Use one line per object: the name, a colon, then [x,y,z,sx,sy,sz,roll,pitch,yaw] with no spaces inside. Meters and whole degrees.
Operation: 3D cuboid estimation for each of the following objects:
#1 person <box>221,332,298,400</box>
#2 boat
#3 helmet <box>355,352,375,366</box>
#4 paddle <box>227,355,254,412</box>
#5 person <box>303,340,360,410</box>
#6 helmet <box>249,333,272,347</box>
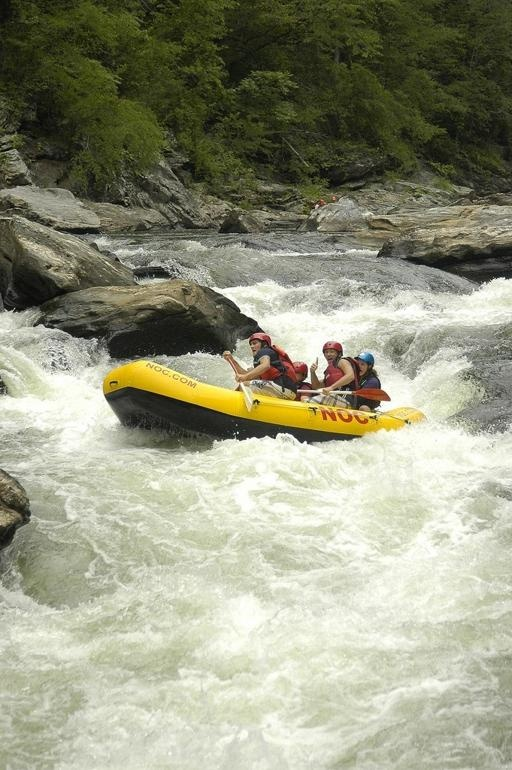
person: [0.033,-0.034,7.655,0.749,0.888,0.442,1,-12,-2]
boat: [-0.057,0.254,7.081,1.897,0.378,1.045,9,2,-19]
helmet: [1.108,-0.255,7.849,0.187,0.087,0.129,26,-1,-14]
paddle: [-0.178,-0.065,7.323,0.122,0.109,0.980,-38,25,4]
person: [0.691,-0.069,7.907,0.697,0.708,0.622,0,-7,21]
helmet: [0.066,-0.450,7.659,0.192,0.128,0.151,1,-9,-31]
